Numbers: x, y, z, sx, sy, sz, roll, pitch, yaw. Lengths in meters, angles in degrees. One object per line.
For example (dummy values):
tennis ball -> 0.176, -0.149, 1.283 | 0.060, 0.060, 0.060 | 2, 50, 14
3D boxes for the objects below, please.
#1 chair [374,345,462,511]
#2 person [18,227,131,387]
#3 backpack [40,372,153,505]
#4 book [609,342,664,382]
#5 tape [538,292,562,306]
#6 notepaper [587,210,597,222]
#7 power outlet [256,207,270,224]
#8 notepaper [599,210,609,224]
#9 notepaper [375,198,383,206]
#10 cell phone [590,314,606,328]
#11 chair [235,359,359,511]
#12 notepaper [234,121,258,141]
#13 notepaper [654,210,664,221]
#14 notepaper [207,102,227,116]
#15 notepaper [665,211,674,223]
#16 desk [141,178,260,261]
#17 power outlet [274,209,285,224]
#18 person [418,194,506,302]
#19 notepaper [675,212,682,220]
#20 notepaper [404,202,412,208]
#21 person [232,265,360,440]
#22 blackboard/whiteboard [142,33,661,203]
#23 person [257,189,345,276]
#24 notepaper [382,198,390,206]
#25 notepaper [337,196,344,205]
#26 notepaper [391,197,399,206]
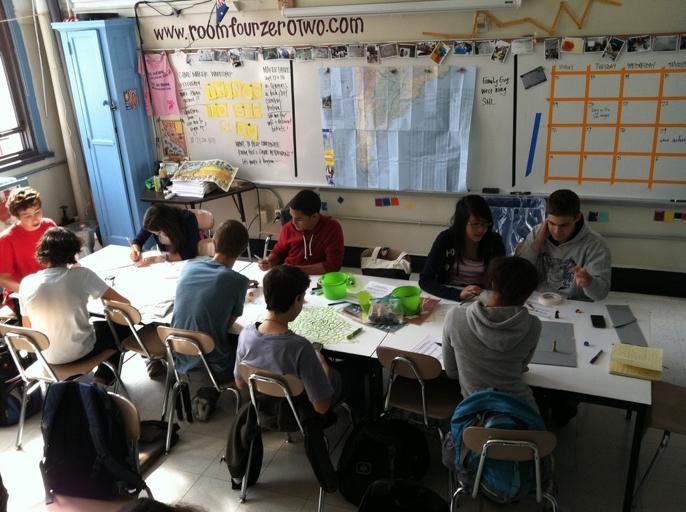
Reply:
chair -> 0.390, 0.805, 2.515 | 0.502, 0.805, 0.590 | 8, 44, 23
person -> -1.775, 0.416, 3.223 | 0.555, 1.113, 0.693 | 1, 11, 18
backpack -> -1.177, 0.869, 2.226 | 0.437, 0.562, 0.272 | -8, 21, -16
book -> 1.504, 0.536, 2.465 | 0.230, 0.063, 0.315 | 11, 24, 31
tape -> 1.277, 0.256, 2.975 | 0.086, 0.020, 0.087 | -4, 20, 7
notepaper -> 2.183, -0.349, 4.187 | 0.087, 0.081, 0.022 | 6, 3, 16
power outlet -> -0.850, -0.441, 5.134 | 0.110, 0.182, 0.101 | 18, 31, 35
notepaper -> 2.267, -0.347, 4.163 | 0.102, 0.117, 0.016 | 5, 22, 34
notepaper -> 0.354, -0.538, 4.703 | 0.079, 0.074, 0.019 | 5, 5, 14
cell phone -> 1.471, 0.376, 2.760 | 0.057, 0.021, 0.087 | 6, 35, 16
chair -> -0.258, 0.987, 2.619 | 0.522, 0.811, 0.592 | 11, 37, 16
notepaper -> -0.971, -1.280, 4.856 | 0.191, 0.131, 0.009 | 10, 28, 20
notepaper -> 2.666, -0.348, 4.049 | 0.077, 0.084, 0.009 | 10, 20, 31
notepaper -> -1.275, -1.504, 4.888 | 0.140, 0.097, 0.017 | 5, 18, 23
notepaper -> 2.739, -0.333, 4.029 | 0.076, 0.077, 0.019 | 7, 5, 21
desk -> -1.409, -0.580, 4.874 | 0.878, 0.764, 1.026 | 10, 23, 26
power outlet -> -0.632, -0.406, 4.787 | 0.107, 0.146, 0.131 | -6, 48, 4
person -> 0.834, -0.070, 3.274 | 0.676, 0.741, 0.512 | -2, 28, -1
notepaper -> 2.805, -0.337, 4.010 | 0.054, 0.053, 0.013 | 8, 8, 24
notepaper -> 0.627, -0.494, 4.635 | 0.072, 0.055, 0.004 | 4, 21, 14
person -> -0.267, 0.500, 2.471 | 0.602, 0.902, 0.389 | -5, 21, -10
blackboard/whiteboard -> 0.854, -1.184, 4.311 | 4.060, 1.231, 0.141 | 4, 21, 15
person -> -0.294, -0.071, 3.705 | 0.575, 0.827, 0.458 | 7, 23, 15
notepaper -> 0.422, -0.532, 4.685 | 0.067, 0.062, 0.016 | 2, 9, 16
notepaper -> -0.035, -0.566, 4.794 | 0.065, 0.063, 0.015 | 10, 10, 19
notepaper -> 0.508, -0.536, 4.651 | 0.084, 0.096, 0.013 | 2, 26, 31
